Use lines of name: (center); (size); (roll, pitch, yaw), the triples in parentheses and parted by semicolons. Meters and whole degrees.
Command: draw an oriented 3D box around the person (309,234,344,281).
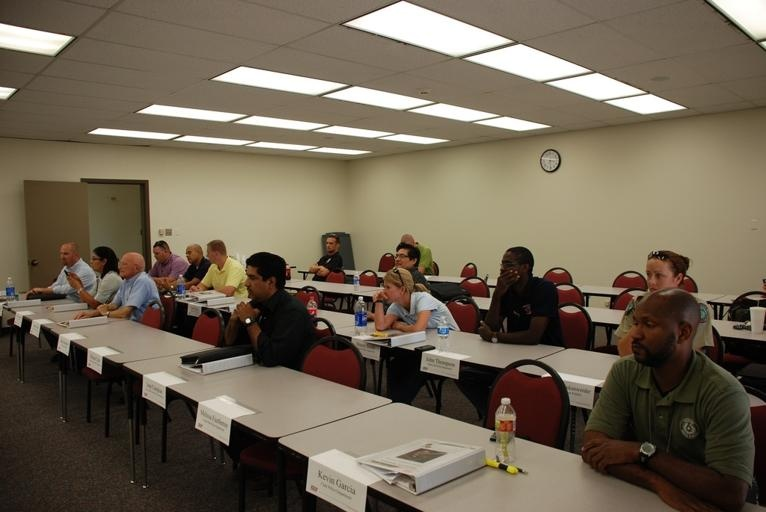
person: (-0.963, 0.102, 8.889); (0.636, 0.923, 0.664); (6, 0, 11)

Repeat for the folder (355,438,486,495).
folder: (0.209, 1.059, 2.598); (0.615, 0.114, 0.291); (-11, 16, -25)

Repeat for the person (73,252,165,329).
person: (-2.867, 0.414, 5.511); (0.566, 0.835, 0.851); (2, 0, 35)

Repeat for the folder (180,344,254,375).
folder: (-1.166, 0.758, 3.708); (0.228, 0.085, 0.318); (5, 7, 42)

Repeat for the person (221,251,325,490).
person: (-0.966, 0.748, 4.073); (0.625, 1.492, 0.699); (8, 9, 33)

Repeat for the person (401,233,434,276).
person: (0.597, 0.063, 8.912); (0.456, 0.995, 0.511); (-13, 22, -11)

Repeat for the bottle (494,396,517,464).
bottle: (0.654, 0.902, 2.711); (0.108, 0.287, 0.284); (0, 15, 14)

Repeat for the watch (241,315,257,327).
watch: (-1.030, 0.505, 3.935); (0.095, 0.066, 0.096); (-12, -17, -21)

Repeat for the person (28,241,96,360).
person: (-4.138, 0.255, 6.567); (0.804, 0.784, 0.530); (-2, 6, -41)

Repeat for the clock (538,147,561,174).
clock: (3.048, -1.746, 9.214); (0.074, 0.577, 0.475); (2, 1, -39)

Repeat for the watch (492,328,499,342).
watch: (0.961, 0.685, 4.284); (0.039, 0.072, 0.067); (-5, -11, 14)

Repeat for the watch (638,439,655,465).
watch: (1.277, 0.952, 2.451); (0.098, 0.096, 0.063); (-36, 28, -27)
